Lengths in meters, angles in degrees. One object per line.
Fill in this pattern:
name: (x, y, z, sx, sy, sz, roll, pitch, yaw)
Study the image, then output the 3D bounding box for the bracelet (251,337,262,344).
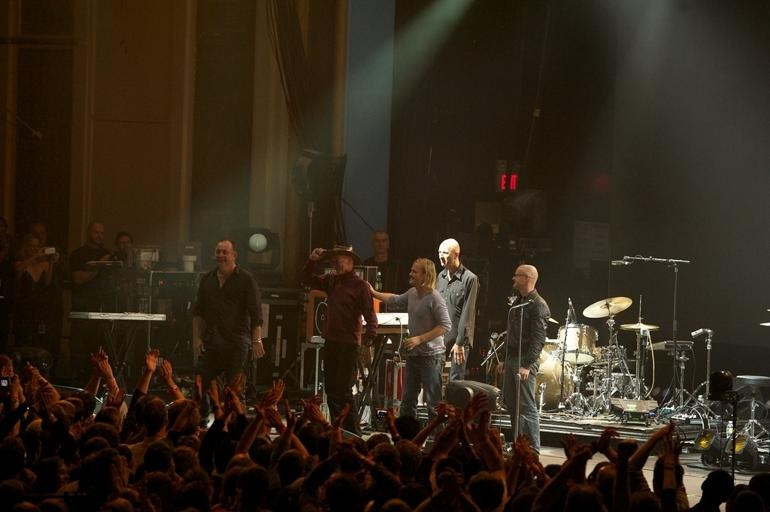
bracelet: (-1.507, 0.981, 9.500, 0.090, 0.065, 0.117, 2, -3, -2)

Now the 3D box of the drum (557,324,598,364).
drum: (2.683, 1.240, 11.308, 0.531, 0.396, 0.544, 4, -17, 1)

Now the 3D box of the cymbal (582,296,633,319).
cymbal: (3.214, 0.733, 11.834, 0.635, 0.305, 0.310, 4, -4, -13)

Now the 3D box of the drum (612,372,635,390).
drum: (3.397, 1.784, 11.654, 0.242, 0.170, 0.245, 1, -1, 0)
